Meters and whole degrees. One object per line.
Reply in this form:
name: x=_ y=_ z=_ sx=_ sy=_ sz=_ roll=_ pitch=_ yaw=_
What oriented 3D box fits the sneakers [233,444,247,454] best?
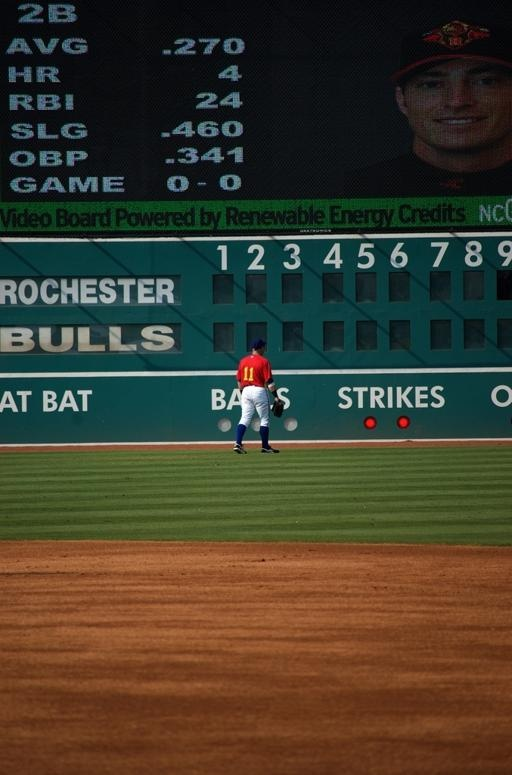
sneakers: x=-0.195 y=0.695 z=14.986 sx=0.070 sy=0.086 sz=0.195 roll=6 pitch=-12 yaw=27

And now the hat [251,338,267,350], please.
hat: x=0.018 y=-0.451 z=14.609 sx=0.123 sy=0.087 sz=0.173 roll=2 pitch=18 yaw=13

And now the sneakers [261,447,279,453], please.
sneakers: x=0.177 y=0.727 z=15.084 sx=0.214 sy=0.089 sz=0.075 roll=-1 pitch=19 yaw=-15
